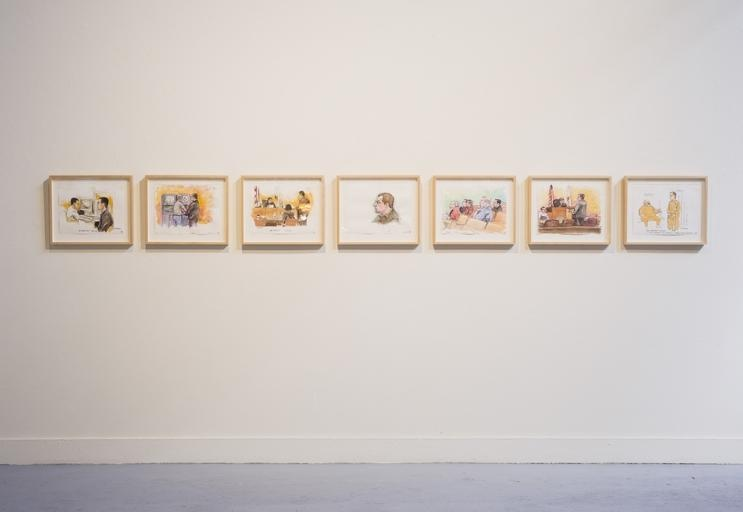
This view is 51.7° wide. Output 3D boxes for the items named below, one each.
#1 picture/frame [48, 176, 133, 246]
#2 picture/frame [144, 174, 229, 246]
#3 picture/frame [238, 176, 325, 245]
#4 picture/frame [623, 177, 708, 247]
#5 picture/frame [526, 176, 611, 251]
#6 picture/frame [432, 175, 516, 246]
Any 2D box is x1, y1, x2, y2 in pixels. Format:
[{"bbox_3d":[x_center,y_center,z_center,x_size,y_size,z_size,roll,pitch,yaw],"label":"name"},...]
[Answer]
[{"bbox_3d":[-2.308,-0.381,6.203,0.559,0.465,0.037,-1,3,2],"label":"picture/frame"},{"bbox_3d":[-1.535,-0.391,6.214,0.574,0.482,0.042,0,-2,-1],"label":"picture/frame"},{"bbox_3d":[-0.757,-0.386,6.220,0.553,0.436,0.025,1,4,0],"label":"picture/frame"},{"bbox_3d":[2.379,-0.378,6.216,0.557,0.467,0.058,0,3,0],"label":"picture/frame"},{"bbox_3d":[1.591,-0.374,6.220,0.568,0.474,0.040,0,4,1],"label":"picture/frame"},{"bbox_3d":[0.838,-0.389,6.223,0.565,0.450,0.027,0,4,2],"label":"picture/frame"}]
